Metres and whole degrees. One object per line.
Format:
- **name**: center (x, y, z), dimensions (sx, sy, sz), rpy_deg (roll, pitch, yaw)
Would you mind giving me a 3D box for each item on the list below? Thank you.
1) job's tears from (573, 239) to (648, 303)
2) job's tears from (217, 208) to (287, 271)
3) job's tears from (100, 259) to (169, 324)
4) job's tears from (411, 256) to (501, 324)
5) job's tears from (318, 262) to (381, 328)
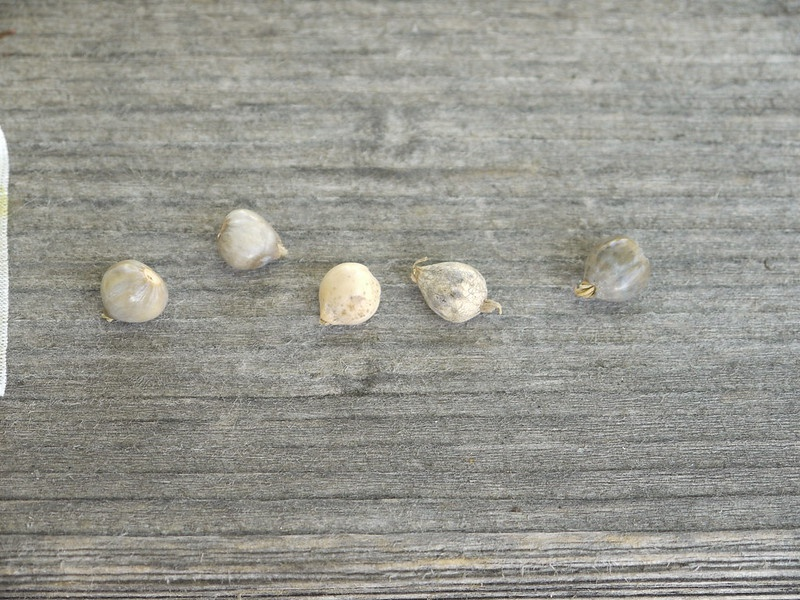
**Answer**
- **job's tears**: center (0.435, -0.058, 3.584), dimensions (0.159, 0.112, 0.104), rpy_deg (-24, -73, -10)
- **job's tears**: center (-0.310, -0.114, 3.555), dimensions (0.161, 0.113, 0.097), rpy_deg (17, -96, -18)
- **job's tears**: center (-0.532, -0.015, 3.518), dimensions (0.126, 0.072, 0.108), rpy_deg (-3, -55, -9)
- **job's tears**: center (0.117, -0.020, 3.539), dimensions (0.212, 0.114, 0.079), rpy_deg (23, -21, 11)
- **job's tears**: center (-0.097, -0.008, 3.520), dimensions (0.116, 0.082, 0.110), rpy_deg (0, -56, -12)
